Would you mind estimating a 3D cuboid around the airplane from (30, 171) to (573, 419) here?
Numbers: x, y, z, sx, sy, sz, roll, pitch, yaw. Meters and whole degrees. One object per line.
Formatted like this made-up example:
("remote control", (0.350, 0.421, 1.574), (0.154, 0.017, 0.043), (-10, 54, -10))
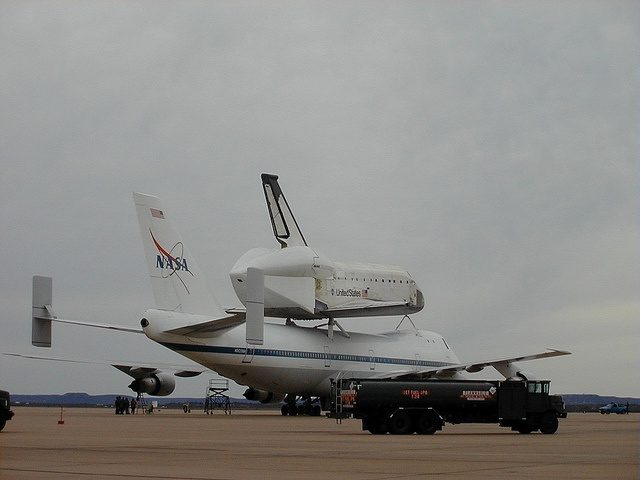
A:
("airplane", (-2.220, 3.374, 38.625), (14.662, 5.585, 12.956), (-1, -3, 42))
